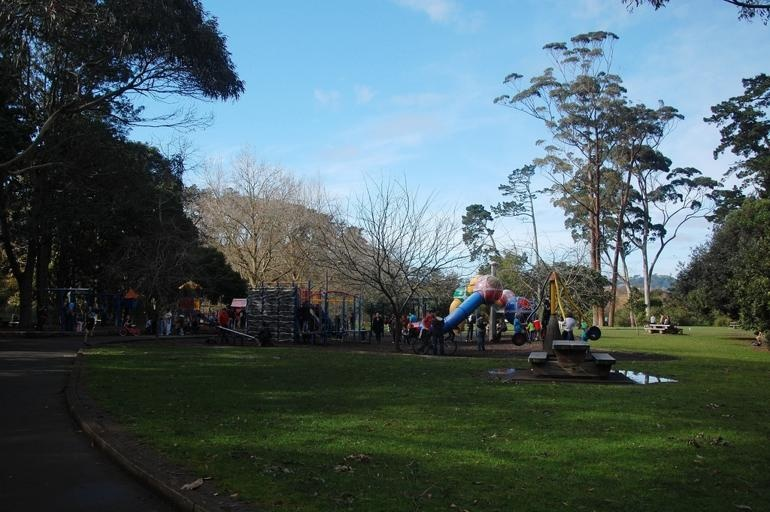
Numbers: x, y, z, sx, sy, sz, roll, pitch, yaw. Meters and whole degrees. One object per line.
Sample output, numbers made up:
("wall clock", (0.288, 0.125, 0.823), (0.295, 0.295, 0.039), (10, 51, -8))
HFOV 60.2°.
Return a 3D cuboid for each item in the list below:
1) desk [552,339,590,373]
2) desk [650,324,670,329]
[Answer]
("desk", (6.625, 3.648, 23.809), (1.199, 1.178, 0.873), (0, -7, 9))
("desk", (22.790, 5.881, 55.122), (0.881, 0.557, 2.455), (1, -8, -1))
